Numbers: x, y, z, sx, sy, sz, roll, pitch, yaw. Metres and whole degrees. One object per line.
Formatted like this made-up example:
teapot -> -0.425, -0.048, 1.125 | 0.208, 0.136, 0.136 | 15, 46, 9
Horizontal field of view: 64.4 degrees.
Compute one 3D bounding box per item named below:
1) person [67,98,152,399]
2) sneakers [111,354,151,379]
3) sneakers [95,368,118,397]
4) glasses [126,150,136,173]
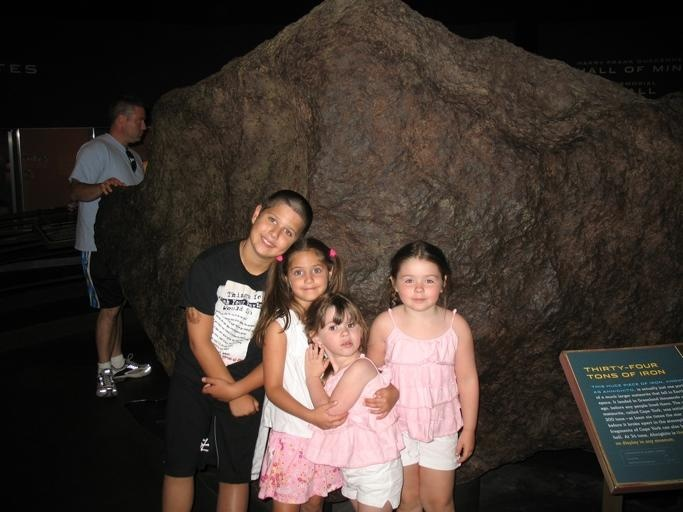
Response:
person -> -1.712, -0.071, 4.072 | 0.543, 2.005, 1.107 | -3, -1, -23
sneakers -> -1.732, 0.913, 4.520 | 0.335, 0.175, 0.110 | -2, 7, -36
sneakers -> -1.783, 0.964, 4.080 | 0.114, 0.114, 0.263 | 2, -1, -22
glasses -> -1.613, -0.748, 4.164 | 0.040, 0.138, 0.099 | -16, 2, -18
